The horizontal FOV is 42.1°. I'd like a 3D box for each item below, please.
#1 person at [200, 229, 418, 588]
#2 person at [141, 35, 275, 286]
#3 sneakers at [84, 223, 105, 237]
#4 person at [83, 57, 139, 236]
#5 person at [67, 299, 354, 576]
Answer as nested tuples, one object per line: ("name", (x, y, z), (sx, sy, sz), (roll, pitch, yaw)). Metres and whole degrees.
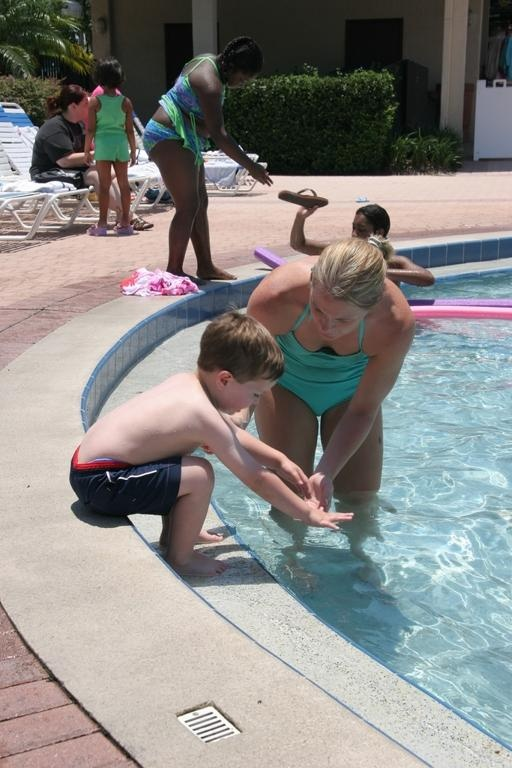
("person", (0.266, 0.139, 2.551), (0.616, 1.429, 0.922), (5, 28, 8))
("person", (-0.443, -1.808, 5.420), (1.033, 1.942, 0.600), (4, 15, 2))
("sneakers", (-2.023, -1.942, 8.359), (0.263, 0.140, 0.149), (12, 23, 19))
("person", (-1.812, -2.882, 8.238), (0.596, 2.061, 0.621), (0, 15, -14))
("person", (-0.115, 0.166, 2.003), (0.872, 0.701, 0.424), (3, 10, -9))
